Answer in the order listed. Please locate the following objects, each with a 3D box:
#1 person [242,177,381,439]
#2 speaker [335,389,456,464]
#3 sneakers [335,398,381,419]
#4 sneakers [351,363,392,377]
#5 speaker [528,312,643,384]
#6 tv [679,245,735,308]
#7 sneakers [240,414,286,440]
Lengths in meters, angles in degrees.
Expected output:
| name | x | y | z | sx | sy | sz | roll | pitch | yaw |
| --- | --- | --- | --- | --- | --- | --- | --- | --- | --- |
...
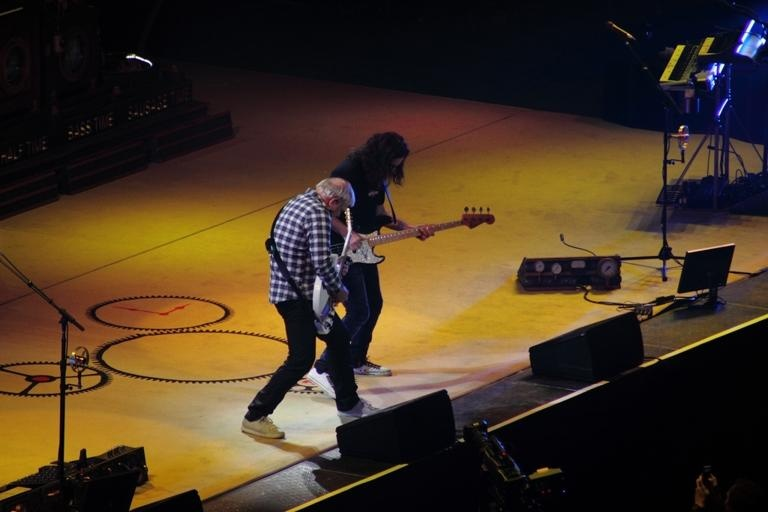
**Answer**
| name | x | y | z | sx | sy | sz | roll | pitch | yaw |
| --- | --- | --- | --- | --- | --- | --- | --- | --- | --- |
| person | -0.674 | 0.441 | 8.366 | 1.084 | 2.152 | 0.367 | -4 | 9 | -3 |
| speaker | 0.088 | 1.327 | 7.819 | 0.786 | 0.313 | 0.759 | -10 | 3 | -40 |
| sneakers | -0.195 | 1.329 | 8.609 | 0.445 | 0.134 | 0.155 | -7 | 19 | -3 |
| sneakers | -0.087 | 1.059 | 9.320 | 0.411 | 0.111 | 0.118 | -1 | 6 | 0 |
| speaker | 1.746 | 0.817 | 8.546 | 0.796 | 0.367 | 0.789 | -15 | 12 | -41 |
| tv | 3.227 | 0.184 | 9.833 | 0.232 | 0.520 | 0.649 | 22 | -19 | -26 |
| sneakers | -0.993 | 1.432 | 8.437 | 0.444 | 0.138 | 0.147 | 7 | 4 | 7 |
